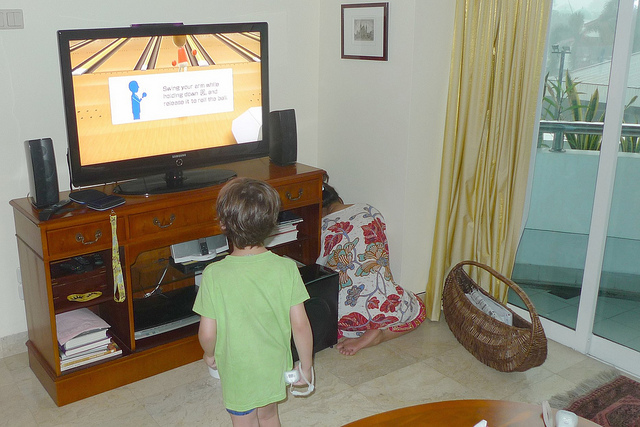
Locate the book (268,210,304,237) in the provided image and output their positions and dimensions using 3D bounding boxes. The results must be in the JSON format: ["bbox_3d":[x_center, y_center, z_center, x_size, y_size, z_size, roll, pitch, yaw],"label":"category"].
[{"bbox_3d":[-0.236,0.063,3.368,0.177,0.042,0.178,-18,27,-41],"label":"book"}]

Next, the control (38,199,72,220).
[{"bbox_3d":[-1.525,-0.026,2.679,0.117,0.058,0.225,2,17,11],"label":"control"}]

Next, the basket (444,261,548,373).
[{"bbox_3d":[1.196,0.682,3.241,0.373,0.611,0.859,-4,21,-21],"label":"basket"}]

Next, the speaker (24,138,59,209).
[{"bbox_3d":[-1.597,-0.228,2.695,0.160,0.382,0.139,-11,20,-29],"label":"speaker"}]

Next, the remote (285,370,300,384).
[{"bbox_3d":[-0.128,0.754,2.163,0.066,0.047,0.045,-4,-18,-26],"label":"remote"}]

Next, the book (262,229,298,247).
[{"bbox_3d":[-0.268,0.161,3.136,0.144,0.034,0.144,-11,17,-30],"label":"book"}]

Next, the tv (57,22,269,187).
[{"bbox_3d":[-1.045,-0.710,2.986,1.114,0.813,0.124,-10,19,-30],"label":"tv"}]

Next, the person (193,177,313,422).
[{"bbox_3d":[-0.307,0.472,2.201,0.520,1.254,0.261,-2,17,-1],"label":"person"}]
